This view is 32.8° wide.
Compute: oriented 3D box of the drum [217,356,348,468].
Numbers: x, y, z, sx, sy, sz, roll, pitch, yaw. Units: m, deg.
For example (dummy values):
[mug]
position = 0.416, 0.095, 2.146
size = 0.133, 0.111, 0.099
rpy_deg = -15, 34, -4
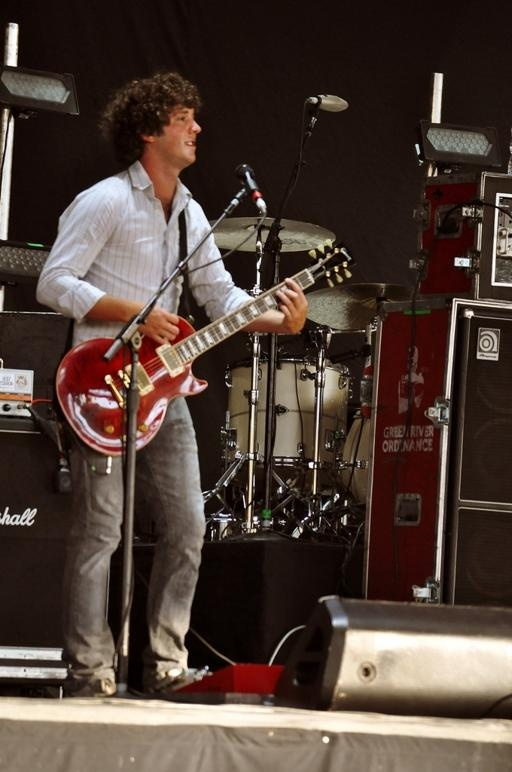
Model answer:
[drum]
position = 0.112, 0.161, 4.855
size = 0.645, 0.472, 0.609
rpy_deg = 2, -6, 0

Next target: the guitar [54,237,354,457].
[guitar]
position = -0.148, -0.122, 2.426
size = 0.778, 0.561, 0.235
rpy_deg = 4, -1, -41

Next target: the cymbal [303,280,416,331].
[cymbal]
position = 0.481, -0.455, 4.540
size = 0.444, 0.093, 0.400
rpy_deg = 4, -25, -11

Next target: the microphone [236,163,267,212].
[microphone]
position = -0.007, -0.579, 2.501
size = 0.059, 0.065, 0.230
rpy_deg = -19, 38, -9
